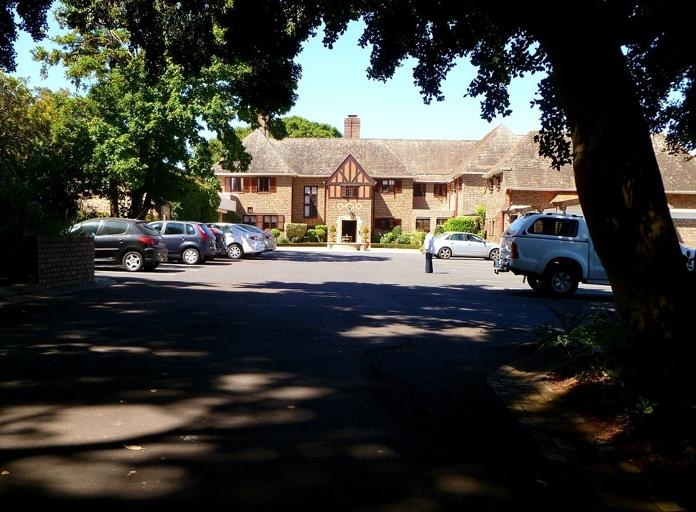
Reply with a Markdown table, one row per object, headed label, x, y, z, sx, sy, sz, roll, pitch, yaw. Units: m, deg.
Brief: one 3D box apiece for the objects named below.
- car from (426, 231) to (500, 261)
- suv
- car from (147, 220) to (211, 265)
| label | x | y | z | sx | sy | sz | roll | pitch | yaw |
| --- | --- | --- | --- | --- | --- | --- | --- | --- | --- |
| car | 7.685 | -0.550 | 38.731 | 4.752 | 1.739 | 2.175 | -1 | 4 | 0 |
| suv | 5.833 | -0.052 | 16.531 | 2.708 | 2.445 | 0.953 | -2 | 1 | 12 |
| car | -7.854 | -0.636 | 26.751 | 2.661 | 1.334 | 1.656 | 4 | 0 | 0 |
